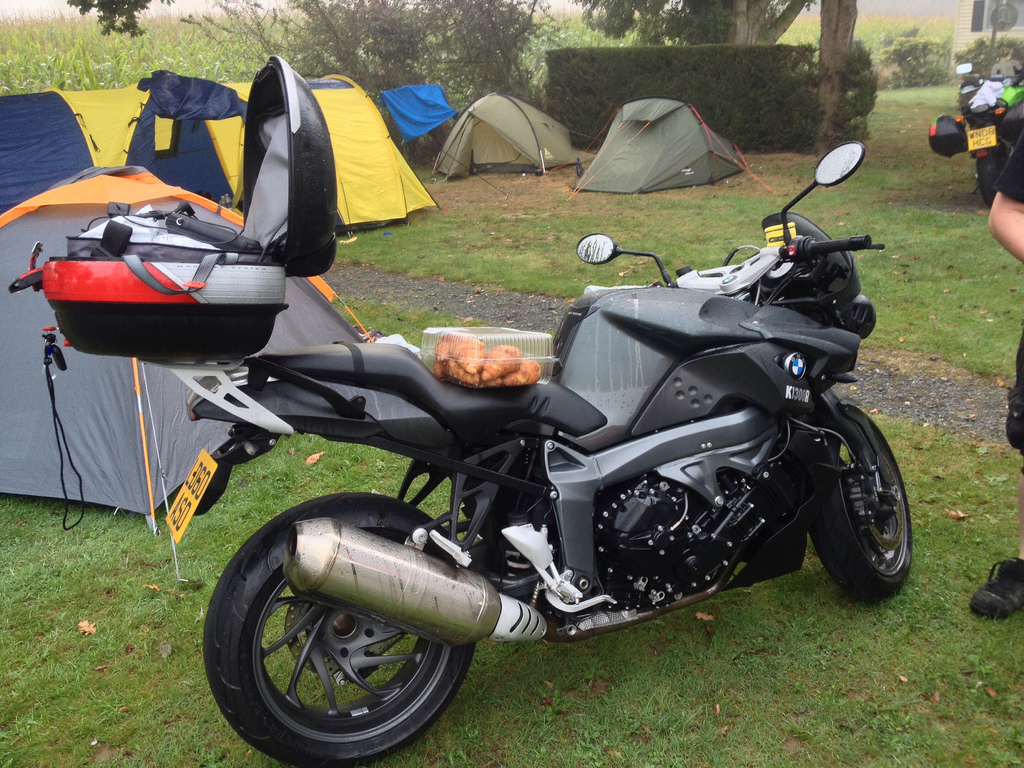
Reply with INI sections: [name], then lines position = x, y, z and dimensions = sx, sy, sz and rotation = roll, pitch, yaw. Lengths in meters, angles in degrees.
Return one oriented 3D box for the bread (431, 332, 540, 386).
[bread]
position = -0.103, -0.091, 3.211
dimensions = 0.428, 0.205, 0.150
rotation = 2, 20, 2
